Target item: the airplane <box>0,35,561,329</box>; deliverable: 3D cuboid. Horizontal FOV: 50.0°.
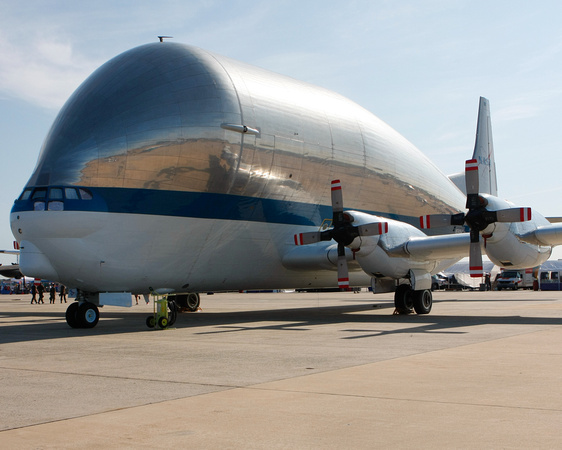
[{"bbox_3d":[0.619,-1.041,19.657,14.973,3.864,13.522,0,-1,32],"label":"airplane"}]
